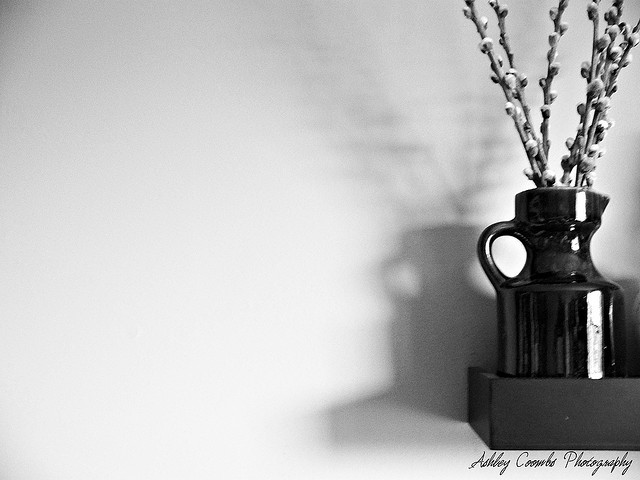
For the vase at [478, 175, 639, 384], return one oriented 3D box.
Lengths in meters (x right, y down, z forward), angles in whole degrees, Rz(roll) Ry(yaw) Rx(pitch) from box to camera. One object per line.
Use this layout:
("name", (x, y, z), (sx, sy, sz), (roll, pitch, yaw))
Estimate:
("vase", (0.372, 0.081, 1.601), (0.383, 0.443, 0.315), (-1, -4, 4))
